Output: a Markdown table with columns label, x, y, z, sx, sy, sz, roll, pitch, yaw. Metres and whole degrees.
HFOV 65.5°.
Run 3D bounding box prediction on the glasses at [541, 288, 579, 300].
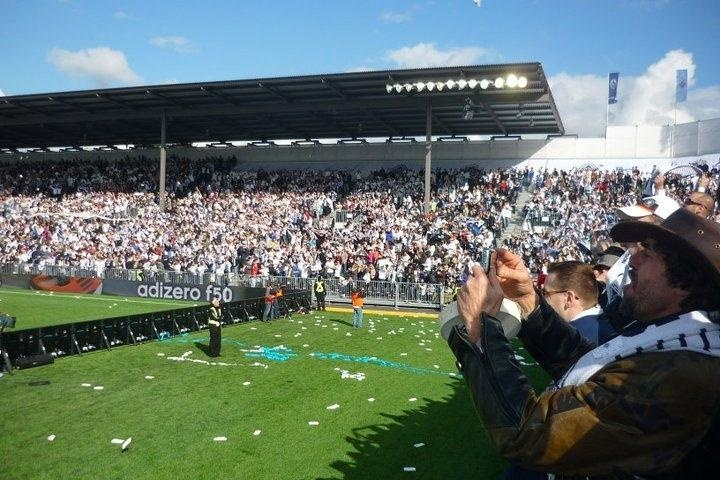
| label | x | y | z | sx | sy | sz | roll | pitch | yaw |
| --- | --- | --- | --- | --- | --- | --- | --- | --- | --- |
| glasses | 2.119 | 0.568 | 5.830 | 0.337 | 0.095 | 0.086 | 2 | 1 | 33 |

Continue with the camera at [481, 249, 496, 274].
| label | x | y | z | sx | sy | sz | roll | pitch | yaw |
| --- | --- | --- | --- | --- | --- | --- | --- | --- | --- |
| camera | 1.010 | 0.159 | 4.381 | 0.096 | 0.178 | 0.216 | 1 | 1 | 14 |
